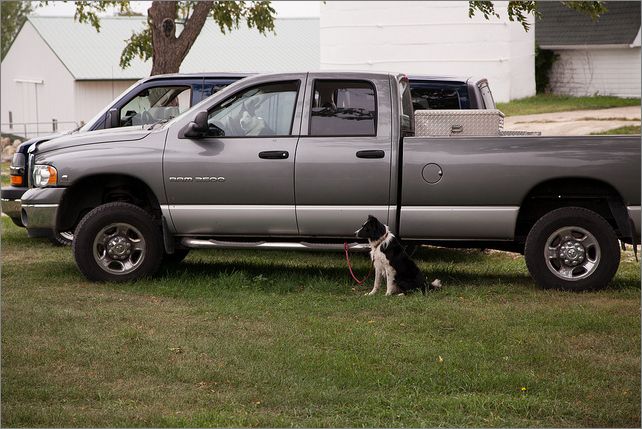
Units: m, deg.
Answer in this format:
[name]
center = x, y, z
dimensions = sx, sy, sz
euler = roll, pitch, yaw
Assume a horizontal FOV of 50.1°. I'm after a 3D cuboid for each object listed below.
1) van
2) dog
[van]
center = -1.028, -0.767, 12.575
dimensions = 8.324, 2.727, 3.346
euler = 1, 5, -1
[dog]
center = 1.016, 0.598, 8.964
dimensions = 1.236, 0.964, 0.464
euler = 8, -13, -26
